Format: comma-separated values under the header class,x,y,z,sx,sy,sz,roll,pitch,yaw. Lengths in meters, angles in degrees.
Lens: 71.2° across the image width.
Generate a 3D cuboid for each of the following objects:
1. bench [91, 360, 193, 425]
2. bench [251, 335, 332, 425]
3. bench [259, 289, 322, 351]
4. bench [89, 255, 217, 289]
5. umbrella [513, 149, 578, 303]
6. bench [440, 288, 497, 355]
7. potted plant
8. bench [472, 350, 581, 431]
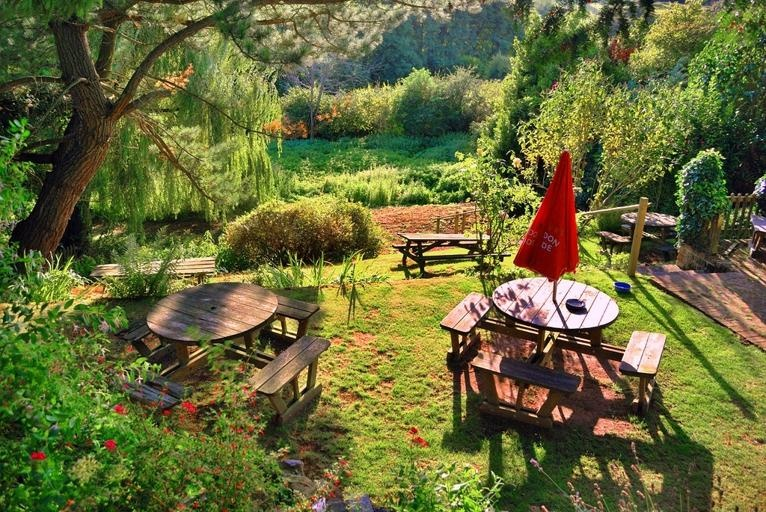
class,x,y,z,sx,sy,sz,roll,pitch,yaw
bench,-2.776,1.657,6.377,1.173,0.277,0.538,16,29,42
bench,-1.205,1.637,6.898,0.424,0.729,1.382,16,24,20
bench,-1.460,0.978,8.002,0.928,0.854,0.558,13,-14,-17
bench,-3.992,0.294,9.493,1.887,0.564,0.915,-4,17,-24
umbrella,2.267,-0.578,7.176,0.791,1.694,0.391,9,16,21
bench,1.235,1.094,7.925,0.474,0.788,1.109,11,17,28
potted plant,6.756,-1.009,11.418,0.943,2.525,0.675,13,18,34
bench,1.838,1.696,6.944,1.263,0.804,0.748,8,16,18
